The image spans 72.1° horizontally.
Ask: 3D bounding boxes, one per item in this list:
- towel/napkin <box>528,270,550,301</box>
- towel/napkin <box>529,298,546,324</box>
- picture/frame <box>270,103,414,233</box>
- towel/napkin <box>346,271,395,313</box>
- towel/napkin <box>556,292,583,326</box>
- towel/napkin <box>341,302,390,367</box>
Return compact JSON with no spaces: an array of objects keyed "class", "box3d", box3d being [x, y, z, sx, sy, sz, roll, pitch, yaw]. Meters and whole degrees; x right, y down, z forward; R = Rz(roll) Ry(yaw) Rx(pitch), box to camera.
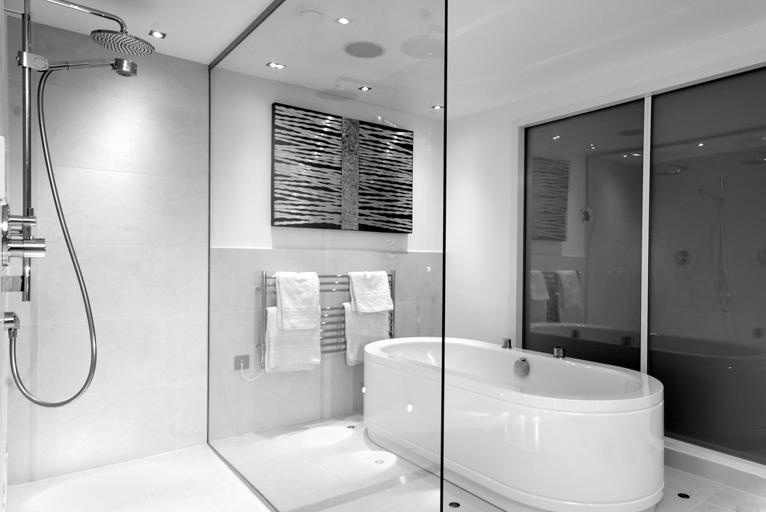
[{"class":"towel/napkin","box3d":[1.460,0.281,4.933,0.060,0.237,0.243,3,-1,-33]},{"class":"towel/napkin","box3d":[1.454,0.520,4.924,0.174,0.216,0.021,1,2,39]},{"class":"picture/frame","box3d":[-0.229,-0.536,3.114,0.947,0.819,0.050,1,2,35]},{"class":"towel/napkin","box3d":[-0.069,0.207,3.000,0.295,0.239,0.065,1,2,42]},{"class":"towel/napkin","box3d":[1.691,0.484,4.768,0.249,0.412,0.244,-1,0,17]},{"class":"towel/napkin","box3d":[-0.092,0.459,3.011,0.306,0.359,0.030,1,2,34]}]
